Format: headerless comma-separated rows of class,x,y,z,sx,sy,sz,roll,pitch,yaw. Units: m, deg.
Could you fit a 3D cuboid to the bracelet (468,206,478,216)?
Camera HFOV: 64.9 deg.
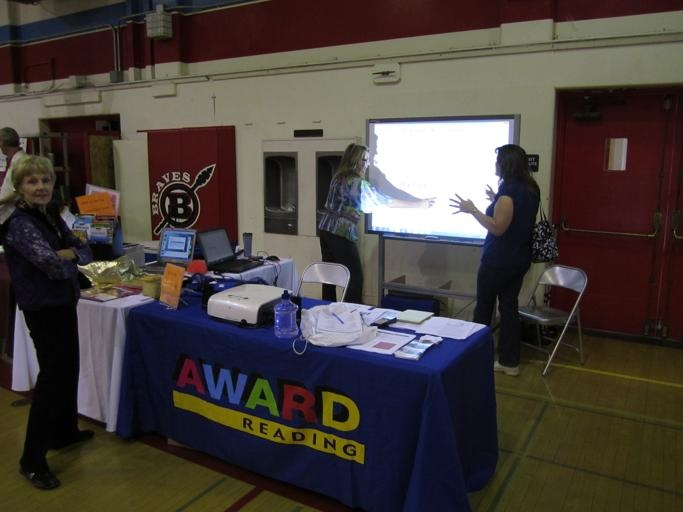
bracelet,1.018,-0.349,4.153,0.018,0.049,0.068,1,47,-13

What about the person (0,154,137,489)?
person,-1.746,0.378,3.227,0.410,1.922,0.469,10,14,42

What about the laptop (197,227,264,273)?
laptop,-0.913,-0.023,4.313,0.331,0.270,0.413,8,12,17

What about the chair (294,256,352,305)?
chair,-0.107,0.227,4.455,0.308,0.491,0.347,4,11,22

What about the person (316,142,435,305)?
person,0.377,-0.316,5.235,0.887,1.828,0.834,-15,30,-24

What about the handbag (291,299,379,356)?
handbag,-0.056,0.418,3.052,0.297,0.086,0.288,-30,26,-37

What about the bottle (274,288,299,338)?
bottle,-0.326,0.346,3.112,0.189,0.361,0.203,0,4,0

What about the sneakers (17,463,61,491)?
sneakers,-1.818,1.324,3.240,0.260,0.118,0.107,12,16,16

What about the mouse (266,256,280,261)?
mouse,-0.597,0.023,4.685,0.049,0.033,0.066,5,9,18

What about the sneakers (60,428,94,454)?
sneakers,-1.735,1.212,3.538,0.069,0.091,0.214,13,20,31

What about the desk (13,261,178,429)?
desk,-1.648,0.532,3.850,0.874,0.743,0.928,6,8,26
